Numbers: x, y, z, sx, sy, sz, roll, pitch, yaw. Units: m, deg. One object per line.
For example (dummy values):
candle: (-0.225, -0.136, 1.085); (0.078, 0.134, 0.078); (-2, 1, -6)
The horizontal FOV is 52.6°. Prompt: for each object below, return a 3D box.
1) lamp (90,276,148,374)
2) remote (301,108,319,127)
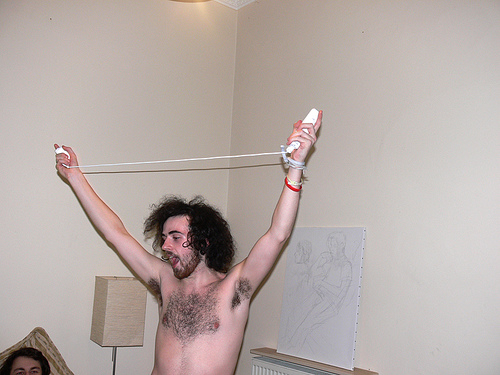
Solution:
lamp: (-0.952, 0.978, 3.620); (0.366, 0.693, 0.282); (7, -14, -19)
remote: (0.297, -0.355, 2.567); (0.072, 0.104, 0.074); (12, -17, -33)
